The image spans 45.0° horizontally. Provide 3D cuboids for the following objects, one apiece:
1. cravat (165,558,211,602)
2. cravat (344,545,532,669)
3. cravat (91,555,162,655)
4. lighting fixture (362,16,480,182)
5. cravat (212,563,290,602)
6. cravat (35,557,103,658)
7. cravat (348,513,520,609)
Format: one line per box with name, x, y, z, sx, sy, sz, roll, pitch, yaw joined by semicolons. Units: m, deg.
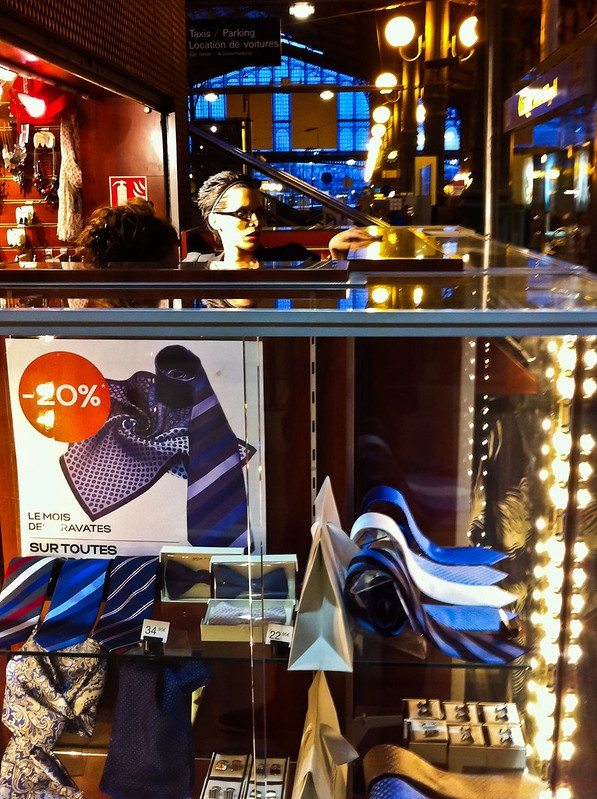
cravat;-0.135;0.235;0.918;0.056;0.047;0.015;0;21;11
cravat;0.162;0.230;0.882;0.188;0.081;0.135;5;4;16
cravat;-0.221;0.237;0.934;0.073;0.020;0.123;2;36;-3
lighting fixture;1.149;-2.930;6.887;1.041;1.861;1.793;0;-1;5
cravat;-0.058;0.231;0.902;0.083;0.046;0.021;-1;15;1
cravat;-0.289;0.260;0.913;0.078;0.030;0.134;-6;27;11
cravat;0.174;0.190;0.895;0.166;0.060;0.098;5;16;10
